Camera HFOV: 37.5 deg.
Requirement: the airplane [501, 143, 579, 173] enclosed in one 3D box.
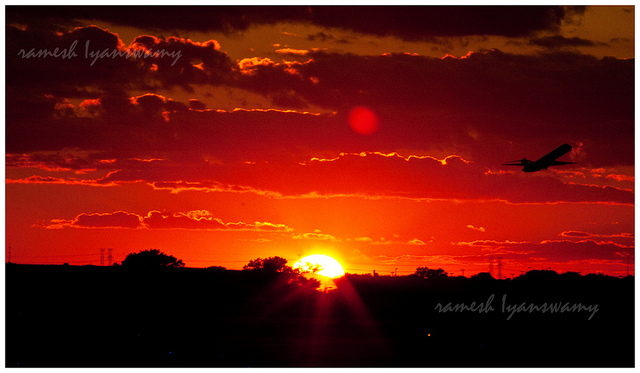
[{"bbox_3d":[24.210,-2.866,103.073,6.773,2.032,7.108,-1,-15,-33],"label":"airplane"}]
